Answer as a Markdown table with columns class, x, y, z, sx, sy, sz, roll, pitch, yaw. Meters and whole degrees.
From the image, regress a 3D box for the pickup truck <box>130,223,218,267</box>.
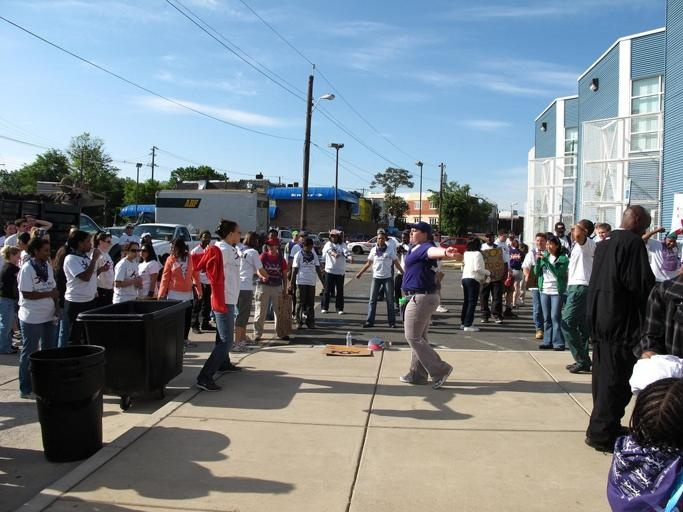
| class | x | y | z | sx | sy | sz | roll | pitch | yaw |
| --- | --- | --- | --- | --- | --- | --- | --- | --- | --- |
| pickup truck | -5.742 | -0.507 | 19.584 | 1.559 | 1.292 | 2.963 | 1 | 0 | 18 |

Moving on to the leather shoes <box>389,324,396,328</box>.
| class | x | y | z | sx | sy | sz | roll | pitch | yaw |
| --- | --- | --- | --- | --- | --- | --- | --- | --- | --- |
| leather shoes | 1.069 | 1.467 | 12.525 | 0.093 | 0.077 | 0.129 | 8 | -12 | -2 |

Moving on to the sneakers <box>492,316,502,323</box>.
| class | x | y | z | sx | sy | sz | roll | pitch | yaw |
| --- | --- | --- | --- | --- | --- | --- | --- | --- | --- |
| sneakers | 3.500 | 1.435 | 13.487 | 0.114 | 0.165 | 0.349 | 0 | -6 | -5 |

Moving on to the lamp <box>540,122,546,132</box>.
| class | x | y | z | sx | sy | sz | roll | pitch | yaw |
| --- | --- | --- | --- | --- | --- | --- | --- | --- | --- |
| lamp | 12.409 | -7.862 | 36.783 | 0.244 | 0.591 | 1.352 | 1 | 7 | 13 |

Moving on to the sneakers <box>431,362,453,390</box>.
| class | x | y | z | sx | sy | sz | roll | pitch | yaw |
| --- | --- | --- | --- | --- | --- | --- | --- | --- | --- |
| sneakers | 1.323 | 1.584 | 7.858 | 0.160 | 0.449 | 0.202 | 35 | 51 | 21 |

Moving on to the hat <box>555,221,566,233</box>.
| class | x | y | z | sx | sy | sz | roll | pitch | yaw |
| --- | --- | --- | --- | --- | --- | --- | --- | --- | --- |
| hat | 4.411 | -0.575 | 12.004 | 0.193 | 0.277 | 0.211 | -2 | -9 | -1 |

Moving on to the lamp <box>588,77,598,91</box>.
| class | x | y | z | sx | sy | sz | roll | pitch | yaw |
| --- | --- | --- | --- | --- | --- | --- | --- | --- | --- |
| lamp | 10.911 | -7.350 | 25.923 | 0.296 | 0.559 | 0.803 | 2 | 7 | 15 |

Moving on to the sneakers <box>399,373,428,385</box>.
| class | x | y | z | sx | sy | sz | roll | pitch | yaw |
| --- | --- | --- | --- | --- | --- | --- | --- | --- | --- |
| sneakers | 0.975 | 1.663 | 8.144 | 0.371 | 0.157 | 0.140 | 5 | 2 | 36 |

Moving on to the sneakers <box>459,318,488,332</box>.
| class | x | y | z | sx | sy | sz | roll | pitch | yaw |
| --- | --- | --- | --- | --- | --- | --- | --- | --- | --- |
| sneakers | 2.714 | 1.440 | 12.252 | 0.426 | 0.191 | 0.158 | -1 | 7 | -14 |
